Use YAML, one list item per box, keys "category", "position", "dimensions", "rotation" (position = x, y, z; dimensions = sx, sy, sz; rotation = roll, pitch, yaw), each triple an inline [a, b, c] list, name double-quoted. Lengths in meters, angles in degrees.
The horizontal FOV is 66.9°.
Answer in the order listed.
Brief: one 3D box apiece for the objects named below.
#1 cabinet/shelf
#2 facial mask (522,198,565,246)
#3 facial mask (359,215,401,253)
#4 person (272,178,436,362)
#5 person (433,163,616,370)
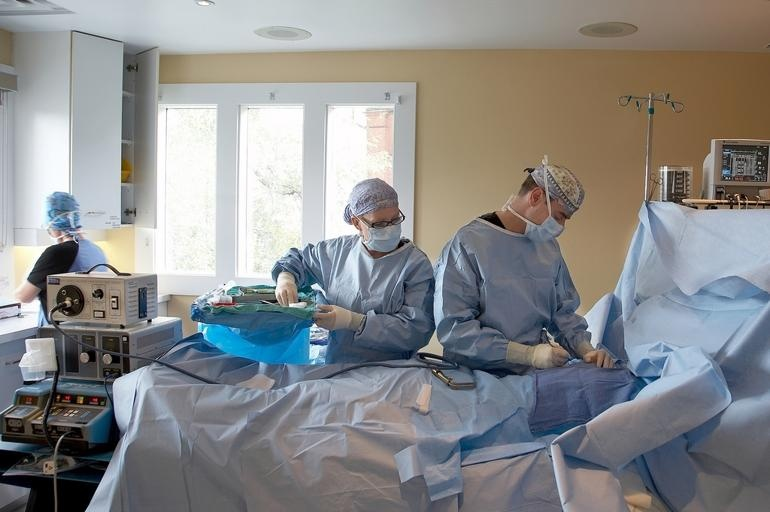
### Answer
- category: "cabinet/shelf"
  position: [-2.095, -0.919, 4.430]
  dimensions: [0.682, 1.628, 0.976]
  rotation: [1, 3, -3]
- category: "facial mask"
  position: [0.732, -0.154, 2.749]
  dimensions: [0.136, 0.181, 0.158]
  rotation: [-34, -4, 11]
- category: "facial mask"
  position: [-0.004, -0.114, 2.813]
  dimensions: [0.150, 0.105, 0.179]
  rotation: [-6, 16, -18]
- category: "person"
  position: [-0.074, 0.099, 2.839]
  dimensions: [0.787, 0.932, 0.479]
  rotation: [0, 7, -7]
- category: "person"
  position: [0.568, 0.046, 2.699]
  dimensions: [0.688, 1.042, 0.563]
  rotation: [4, 9, 1]
